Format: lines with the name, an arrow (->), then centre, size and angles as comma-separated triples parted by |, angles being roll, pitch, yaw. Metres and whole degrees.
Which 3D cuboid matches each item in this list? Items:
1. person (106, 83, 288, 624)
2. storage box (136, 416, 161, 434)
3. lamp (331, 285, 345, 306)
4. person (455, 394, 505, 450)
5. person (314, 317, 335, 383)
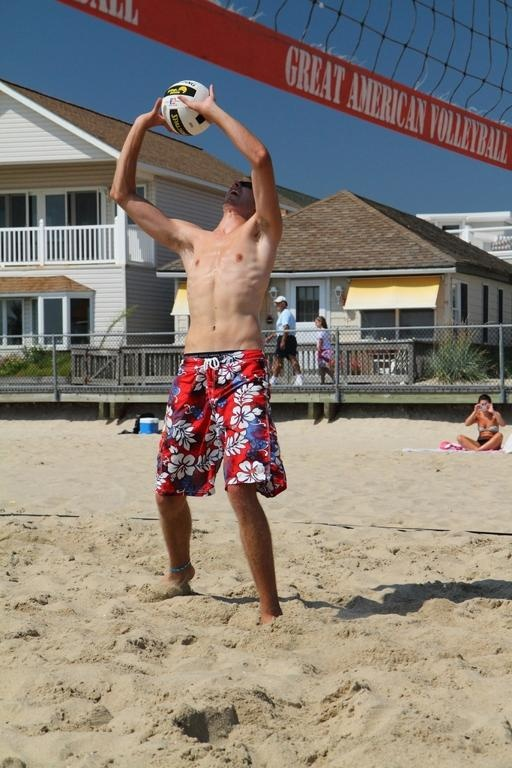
person -> -0.150, -0.151, 2.838 | 0.510, 2.079, 1.030 | 0, 1, -24
storage box -> -1.731, 0.641, 11.889 | 0.273, 0.167, 0.271 | -1, -1, 28
lamp -> 1.972, -2.109, 18.184 | 0.315, 0.523, 0.203 | 1, 1, 9
person -> 2.906, 0.492, 9.787 | 0.565, 0.650, 1.215 | 1, 1, 17
person -> 1.168, -0.454, 12.865 | 0.367, 0.944, 0.215 | 1, 1, 14
